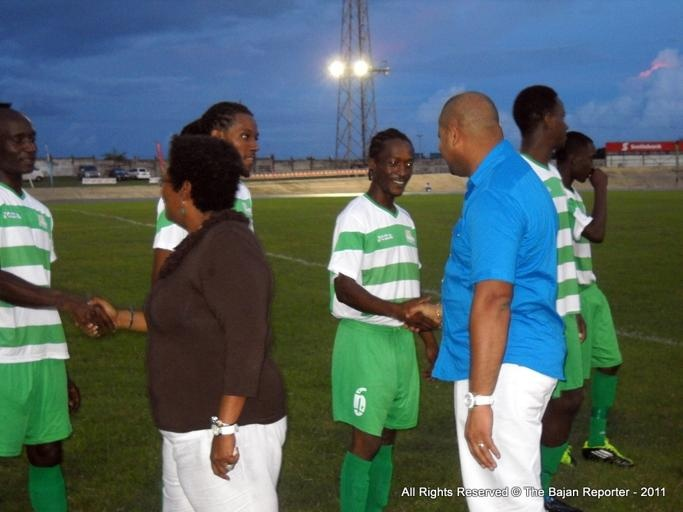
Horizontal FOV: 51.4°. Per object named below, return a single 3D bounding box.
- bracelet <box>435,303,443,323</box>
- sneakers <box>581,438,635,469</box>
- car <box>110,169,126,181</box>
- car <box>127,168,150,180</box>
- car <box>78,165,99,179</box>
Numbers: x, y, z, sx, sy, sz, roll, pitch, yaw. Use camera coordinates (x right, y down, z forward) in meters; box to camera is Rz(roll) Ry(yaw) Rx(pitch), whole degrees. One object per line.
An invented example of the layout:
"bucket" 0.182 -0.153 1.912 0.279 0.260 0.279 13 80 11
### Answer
"bracelet" 0.684 0.406 4.962 0.034 0.119 0.049 -8 -14 32
"sneakers" 2.301 1.719 6.142 0.415 0.184 0.151 2 -1 29
"car" -18.498 -6.788 58.871 1.163 1.035 2.021 -6 6 -39
"car" -17.645 -7.081 61.256 1.167 0.850 2.269 -2 4 -32
"car" -20.206 -6.747 57.028 1.420 1.160 2.339 -2 0 -33
